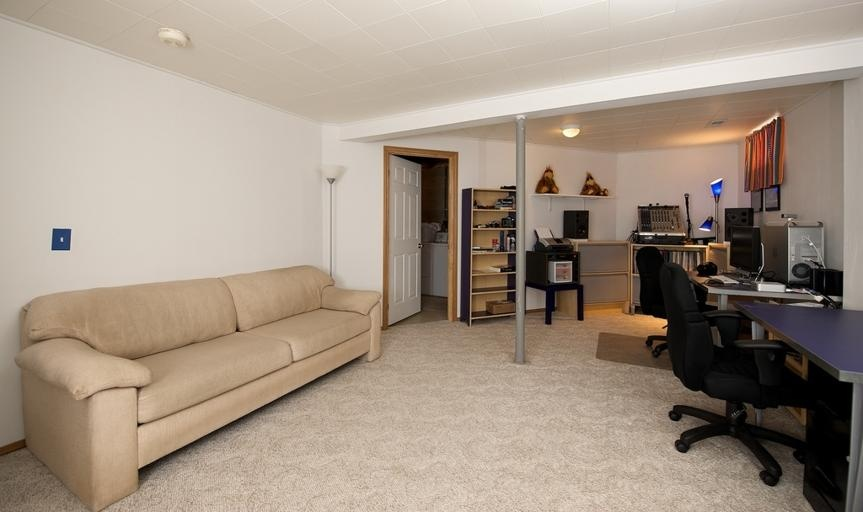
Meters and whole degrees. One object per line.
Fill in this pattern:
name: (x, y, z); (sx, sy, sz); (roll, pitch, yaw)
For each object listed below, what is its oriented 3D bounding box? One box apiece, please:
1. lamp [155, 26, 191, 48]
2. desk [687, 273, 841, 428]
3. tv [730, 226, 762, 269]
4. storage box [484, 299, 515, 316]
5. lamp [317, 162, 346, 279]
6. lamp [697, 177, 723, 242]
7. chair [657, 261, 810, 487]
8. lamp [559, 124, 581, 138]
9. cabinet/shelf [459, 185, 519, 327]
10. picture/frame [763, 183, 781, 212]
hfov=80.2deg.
lamp: (-2.419, -2.057, 4.795); (0.279, 0.107, 0.234); (-4, 6, -34)
desk: (3.414, 0.660, 5.244); (1.237, 1.017, 2.231); (2, 5, 19)
tv: (3.682, -0.109, 5.991); (0.135, 0.349, 0.523); (-2, 6, 12)
storage box: (0.991, 0.763, 7.548); (0.410, 0.179, 0.199); (-2, 5, -7)
lamp: (-1.293, -0.466, 6.751); (0.335, 1.502, 0.357); (-2, 6, -10)
lamp: (4.283, -0.731, 7.870); (0.329, 0.942, 0.404); (2, 6, 29)
chair: (3.134, 0.941, 5.231); (1.802, 2.020, 1.773); (-1, 0, 11)
lamp: (1.868, -1.706, 6.940); (0.199, 0.116, 0.188); (-1, 1, -14)
cabinet/shelf: (0.840, -0.035, 7.546); (0.925, 1.975, 0.600); (-3, 6, -17)
picture/frame: (4.299, -0.757, 6.461); (0.051, 0.450, 0.414); (2, 2, 19)
